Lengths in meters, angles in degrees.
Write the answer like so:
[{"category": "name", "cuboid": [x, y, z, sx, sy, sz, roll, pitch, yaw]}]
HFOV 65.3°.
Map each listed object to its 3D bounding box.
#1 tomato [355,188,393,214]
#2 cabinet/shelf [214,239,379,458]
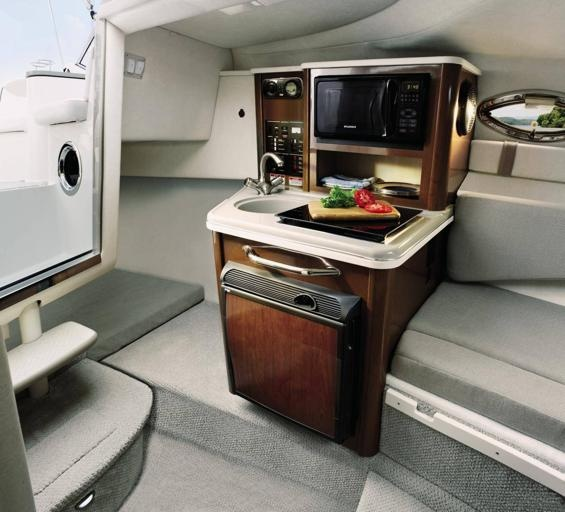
[{"category": "tomato", "cuboid": [0.316, -0.188, 1.560, 0.076, 0.028, 0.126, -4, 34, -32]}, {"category": "cabinet/shelf", "cuboid": [0.065, 0.315, 1.653, 0.527, 0.665, 0.359, 10, 25, 27]}]
